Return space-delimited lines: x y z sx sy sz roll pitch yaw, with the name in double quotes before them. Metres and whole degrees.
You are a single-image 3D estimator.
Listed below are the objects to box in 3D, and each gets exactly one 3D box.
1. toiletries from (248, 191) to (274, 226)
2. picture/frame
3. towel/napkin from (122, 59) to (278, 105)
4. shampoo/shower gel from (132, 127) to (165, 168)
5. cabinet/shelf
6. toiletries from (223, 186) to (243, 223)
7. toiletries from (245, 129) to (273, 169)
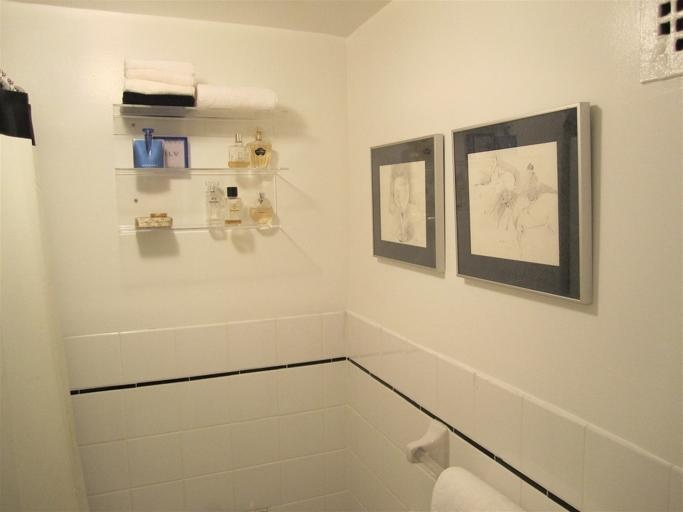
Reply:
"toiletries" -0.331 -0.220 2.363 0.126 0.180 0.130 2 5 15
"picture/frame" 0.421 -0.193 1.792 0.079 0.539 0.952 -8 12 -32
"towel/napkin" -0.581 -0.707 2.186 0.613 0.192 0.075 -6 11 -21
"shampoo/shower gel" -0.820 -0.452 2.237 0.129 0.162 0.090 -4 10 -14
"cabinet/shelf" -0.600 -0.365 2.327 0.747 0.572 0.172 -6 11 -23
"toiletries" -0.490 -0.222 2.377 0.101 0.178 0.105 -4 -2 19
"toiletries" -0.369 -0.467 2.385 0.108 0.182 0.110 -4 -4 1
